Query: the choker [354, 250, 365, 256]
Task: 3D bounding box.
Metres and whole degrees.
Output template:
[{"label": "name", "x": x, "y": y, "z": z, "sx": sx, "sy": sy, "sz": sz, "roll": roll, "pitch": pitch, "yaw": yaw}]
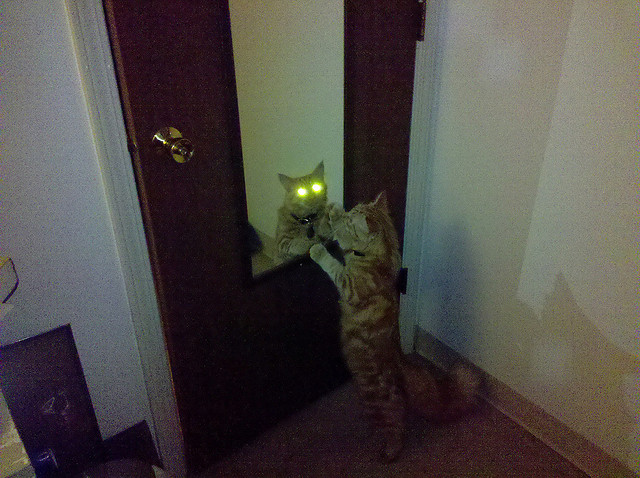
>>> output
[{"label": "choker", "x": 0.157, "y": 0.056, "z": 2.093, "sx": 0.054, "sy": 0.016, "sz": 0.033, "roll": 11, "pitch": -10, "yaw": 12}]
